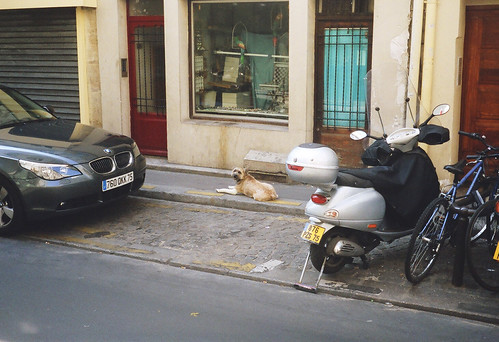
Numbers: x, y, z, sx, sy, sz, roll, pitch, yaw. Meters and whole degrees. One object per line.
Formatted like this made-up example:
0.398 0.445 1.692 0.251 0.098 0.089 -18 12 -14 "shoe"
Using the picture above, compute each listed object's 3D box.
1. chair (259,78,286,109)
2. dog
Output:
0.596 -1.816 11.095 0.531 0.501 0.657 0 -3 2 "chair"
-0.057 0.284 9.369 1.070 0.490 0.525 15 13 31 "dog"
